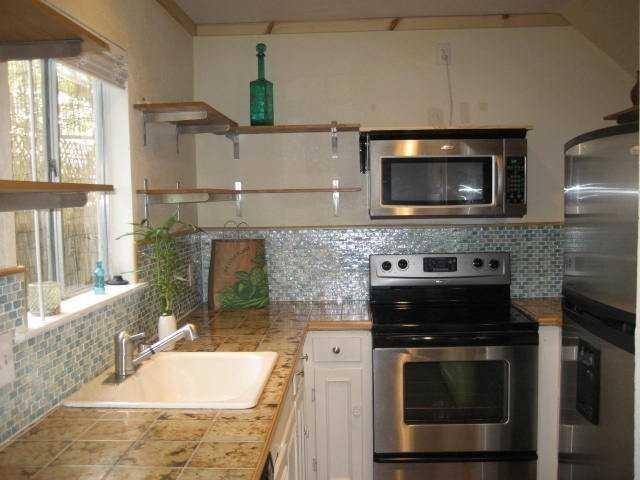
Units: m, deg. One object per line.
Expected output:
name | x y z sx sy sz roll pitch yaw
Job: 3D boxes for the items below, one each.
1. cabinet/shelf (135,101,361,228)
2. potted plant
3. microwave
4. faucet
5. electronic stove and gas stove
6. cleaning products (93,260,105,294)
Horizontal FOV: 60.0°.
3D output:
cabinet/shelf | -0.330 -0.410 3.105 1.061 0.669 0.970 1 11 3
potted plant | -0.801 0.166 2.777 0.216 0.524 0.562 -4 4 -13
microwave | 0.717 -0.387 3.153 0.875 0.480 0.254 -2 11 -9
faucet | -0.666 0.450 2.324 0.313 0.182 0.199 0 4 0
electronic stove and gas stove | 0.717 0.423 3.145 0.859 0.060 0.482 0 11 2
cleaning products | -0.976 0.164 2.453 0.042 0.131 0.106 -4 12 -20
